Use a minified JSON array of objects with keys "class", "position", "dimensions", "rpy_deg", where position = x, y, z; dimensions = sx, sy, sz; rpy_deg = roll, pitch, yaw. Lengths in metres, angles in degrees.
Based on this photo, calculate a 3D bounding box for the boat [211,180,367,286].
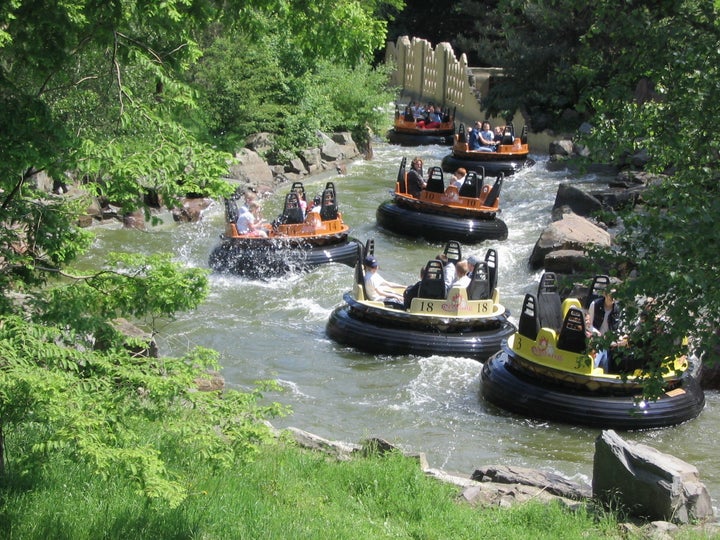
[{"class":"boat","position":[-1.711,-0.586,16.818],"dimensions":[2.211,1.453,2.339],"rpy_deg":[1,5,24]}]

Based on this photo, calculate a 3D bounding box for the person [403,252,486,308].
[{"class":"person","position":[1.301,0.223,12.782],"dimensions":[1.063,0.754,0.796],"rpy_deg":[8,5,9]}]

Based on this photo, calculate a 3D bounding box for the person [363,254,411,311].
[{"class":"person","position":[0.464,0.146,12.969],"dimensions":[0.852,1.115,0.795],"rpy_deg":[2,10,16]}]

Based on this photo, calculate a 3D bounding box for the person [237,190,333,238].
[{"class":"person","position":[-1.829,-1.084,16.949],"dimensions":[1.361,0.524,1.045],"rpy_deg":[-4,48,-10]}]

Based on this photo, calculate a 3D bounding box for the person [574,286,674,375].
[{"class":"person","position":[2.723,0.668,8.122],"dimensions":[0.724,1.322,0.440],"rpy_deg":[-9,28,13]}]

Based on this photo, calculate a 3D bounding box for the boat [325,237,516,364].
[{"class":"boat","position":[1.081,0.592,12.555],"dimensions":[2.771,1.668,0.971],"rpy_deg":[9,8,14]}]
